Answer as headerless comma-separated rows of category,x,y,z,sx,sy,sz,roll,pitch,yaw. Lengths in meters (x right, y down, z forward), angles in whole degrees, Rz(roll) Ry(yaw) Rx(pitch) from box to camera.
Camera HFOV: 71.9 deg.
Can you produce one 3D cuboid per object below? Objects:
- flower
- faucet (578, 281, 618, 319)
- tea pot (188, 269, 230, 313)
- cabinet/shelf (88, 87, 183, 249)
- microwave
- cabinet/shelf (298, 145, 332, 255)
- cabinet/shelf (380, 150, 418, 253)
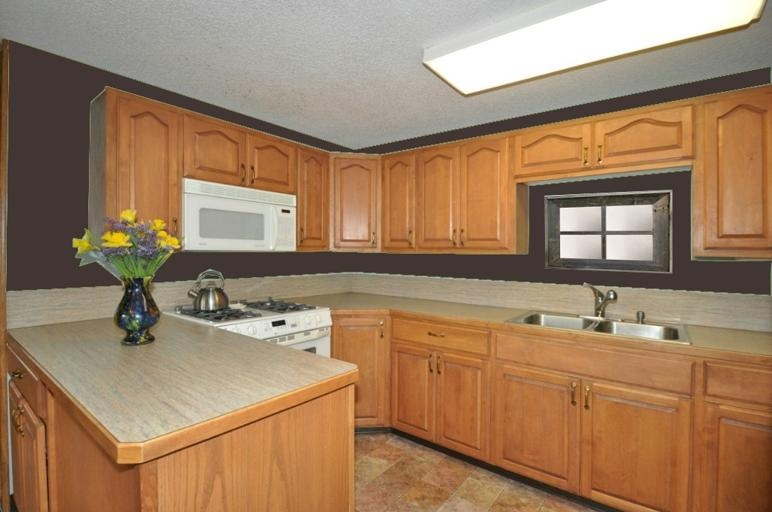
flower,-1.546,-0.081,3.207,0.583,0.340,0.467,-3,6,-33
faucet,1.583,0.319,3.907,0.222,0.250,0.229,0,2,23
tea pot,-1.363,0.256,4.020,0.333,0.262,0.220,-2,12,-17
cabinet/shelf,-1.677,-0.640,3.853,0.445,0.923,0.285,5,27,-10
microwave,-1.290,-0.283,4.235,0.524,0.489,1.093,-1,-1,34
cabinet/shelf,-0.649,-0.482,4.646,0.140,0.886,0.422,4,5,34
cabinet/shelf,0.117,-0.477,4.708,0.150,0.858,0.401,-5,8,-41
